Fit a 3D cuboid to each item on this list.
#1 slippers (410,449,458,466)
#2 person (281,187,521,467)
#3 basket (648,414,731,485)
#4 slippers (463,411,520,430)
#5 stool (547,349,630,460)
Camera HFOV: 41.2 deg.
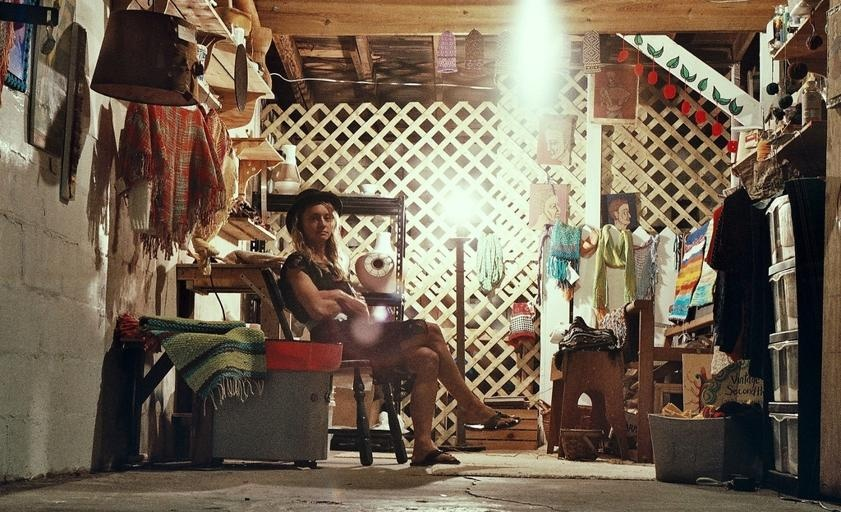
[{"bbox_3d":[0.067,0.887,4.815,0.175,0.059,0.092,0,-8,-10],"label":"slippers"},{"bbox_3d":[-0.167,0.310,4.925,0.903,1.263,0.267,0,-15,-8],"label":"person"},{"bbox_3d":[1.048,0.760,4.367,0.278,0.209,0.270,0,-9,16],"label":"basket"},{"bbox_3d":[0.320,0.737,4.911,0.207,0.083,0.273,-3,-15,3],"label":"slippers"},{"bbox_3d":[0.860,0.786,5.880,0.328,0.553,0.672,-2,-6,1],"label":"stool"}]
